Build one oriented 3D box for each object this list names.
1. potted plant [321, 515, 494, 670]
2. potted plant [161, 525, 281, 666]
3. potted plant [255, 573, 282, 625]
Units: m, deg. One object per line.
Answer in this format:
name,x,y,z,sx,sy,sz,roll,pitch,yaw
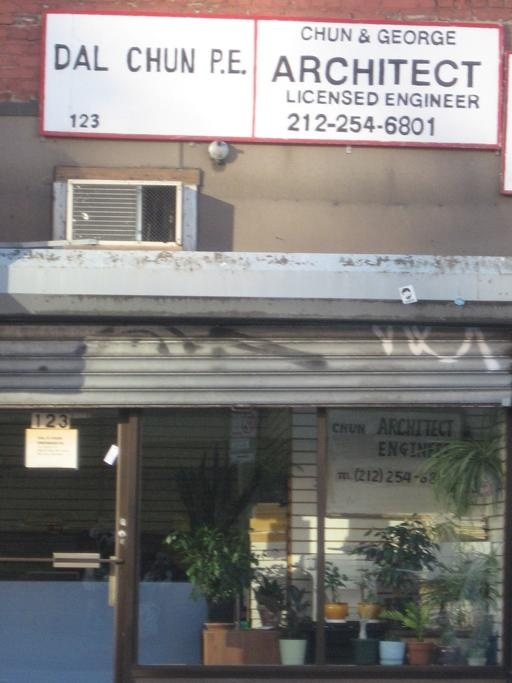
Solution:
potted plant,1.022,1.747,14.415,1.437,1.036,0.757,0,-15,0
potted plant,-0.199,1.764,14.153,0.354,0.867,0.587,6,-2,11
potted plant,0.056,1.741,14.118,0.207,0.337,0.211,7,-8,-1
